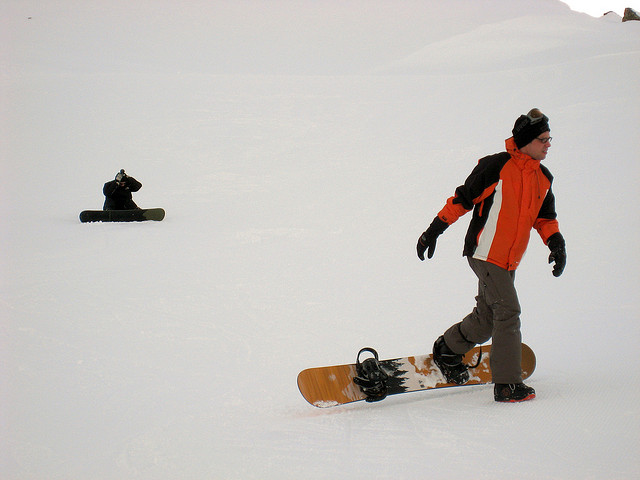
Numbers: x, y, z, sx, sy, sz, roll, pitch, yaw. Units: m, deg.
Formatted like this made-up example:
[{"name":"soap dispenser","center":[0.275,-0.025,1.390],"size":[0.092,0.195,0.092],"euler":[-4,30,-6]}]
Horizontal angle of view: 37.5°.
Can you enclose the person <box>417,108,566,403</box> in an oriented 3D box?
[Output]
[{"name":"person","center":[1.532,0.154,8.105],"size":[1.117,2.421,0.487],"euler":[1,0,15]}]

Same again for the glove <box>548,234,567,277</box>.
[{"name":"glove","center":[2.002,0.135,7.942],"size":[0.143,0.347,0.431],"euler":[1,0,14]}]

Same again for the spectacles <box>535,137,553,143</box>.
[{"name":"spectacles","center":[1.897,-0.833,7.944],"size":[0.148,0.041,0.047],"euler":[1,0,-21]}]

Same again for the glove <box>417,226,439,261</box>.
[{"name":"glove","center":[0.827,0.017,7.156],"size":[0.078,0.272,0.078],"euler":[25,13,-8]}]
